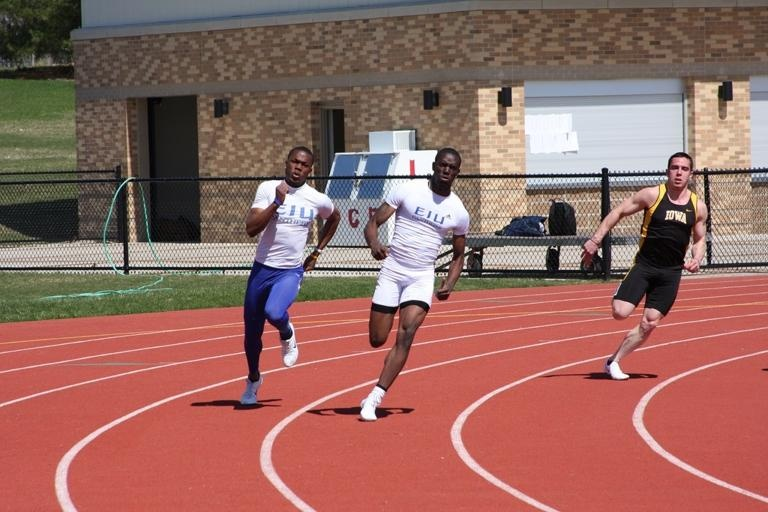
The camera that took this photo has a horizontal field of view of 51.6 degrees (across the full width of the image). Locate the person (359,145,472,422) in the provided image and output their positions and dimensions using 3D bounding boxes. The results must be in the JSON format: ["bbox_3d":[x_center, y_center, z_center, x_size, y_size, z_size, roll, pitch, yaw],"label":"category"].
[{"bbox_3d":[0.342,0.276,8.648,1.125,2.922,0.936,2,5,-2],"label":"person"}]

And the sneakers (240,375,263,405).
[{"bbox_3d":[-1.507,1.505,9.092,0.149,0.169,0.414,2,24,5],"label":"sneakers"}]

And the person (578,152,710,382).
[{"bbox_3d":[3.294,0.132,9.812,1.411,2.817,0.851,3,5,12],"label":"person"}]

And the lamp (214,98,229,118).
[{"bbox_3d":[-5.367,-4.850,26.056,0.592,0.638,0.220,4,5,22],"label":"lamp"}]

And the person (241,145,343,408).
[{"bbox_3d":[-1.102,0.225,9.083,1.025,2.943,1.046,1,5,-10],"label":"person"}]

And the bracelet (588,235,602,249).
[{"bbox_3d":[2.630,-0.172,9.705,0.109,0.040,0.153,-7,-41,47],"label":"bracelet"}]

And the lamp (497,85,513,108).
[{"bbox_3d":[3.584,-4.626,23.161,0.430,0.584,0.229,3,5,8],"label":"lamp"}]

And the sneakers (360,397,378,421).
[{"bbox_3d":[-0.153,1.618,8.437,0.180,0.260,0.338,2,5,-2],"label":"sneakers"}]

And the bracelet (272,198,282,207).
[{"bbox_3d":[-1.135,-0.574,8.493,0.075,0.076,0.092,6,-2,-7],"label":"bracelet"}]

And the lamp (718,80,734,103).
[{"bbox_3d":[10.494,-5.001,24.074,0.517,0.639,0.187,0,5,-17],"label":"lamp"}]

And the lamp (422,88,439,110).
[{"bbox_3d":[1.431,-4.644,23.577,0.515,0.598,0.166,3,5,13],"label":"lamp"}]
